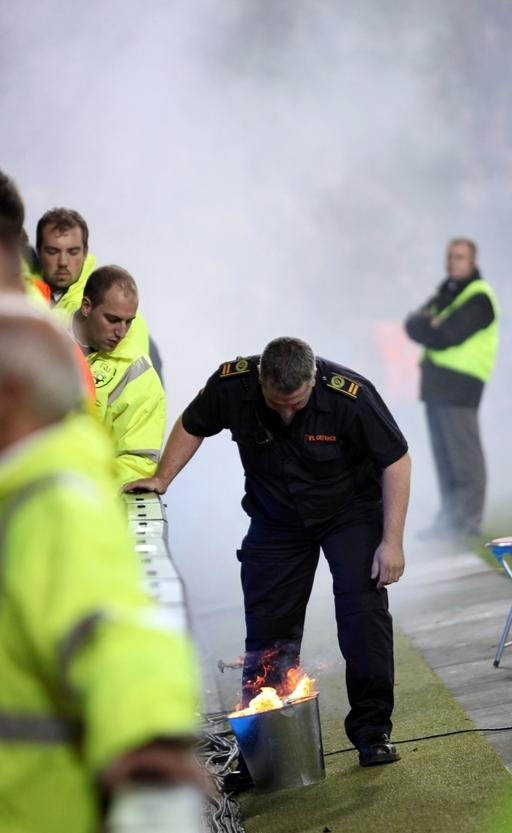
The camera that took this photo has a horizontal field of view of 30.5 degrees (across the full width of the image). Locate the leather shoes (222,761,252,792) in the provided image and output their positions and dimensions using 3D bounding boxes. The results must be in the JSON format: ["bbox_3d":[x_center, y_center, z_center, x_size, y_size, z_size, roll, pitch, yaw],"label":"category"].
[{"bbox_3d":[-0.082,1.218,3.182,0.046,0.077,0.125,-1,7,-23],"label":"leather shoes"}]

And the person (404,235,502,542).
[{"bbox_3d":[1.425,-0.180,6.433,0.731,1.631,0.374,-9,5,35],"label":"person"}]

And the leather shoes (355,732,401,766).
[{"bbox_3d":[0.415,1.114,3.150,0.074,0.071,0.167,-3,5,33],"label":"leather shoes"}]

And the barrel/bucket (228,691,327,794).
[{"bbox_3d":[0.088,1.046,2.972,0.321,0.214,0.286,-20,-24,23],"label":"barrel/bucket"}]

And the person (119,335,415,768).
[{"bbox_3d":[0.131,0.432,3.391,1.006,1.381,0.792,4,6,41],"label":"person"}]
